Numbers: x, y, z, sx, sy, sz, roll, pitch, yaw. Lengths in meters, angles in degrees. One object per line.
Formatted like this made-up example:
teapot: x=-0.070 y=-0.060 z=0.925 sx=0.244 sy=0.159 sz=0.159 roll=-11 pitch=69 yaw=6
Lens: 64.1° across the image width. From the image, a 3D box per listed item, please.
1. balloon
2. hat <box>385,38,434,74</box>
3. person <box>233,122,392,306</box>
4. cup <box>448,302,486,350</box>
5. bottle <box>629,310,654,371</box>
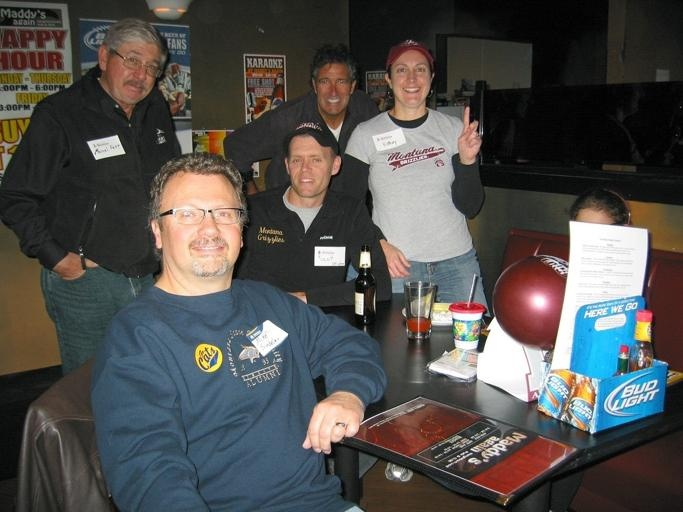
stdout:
balloon: x=0.577 y=0.152 z=1.740 sx=0.276 sy=0.213 sz=0.229 roll=-5 pitch=31 yaw=-13
hat: x=0.385 y=-1.140 z=3.083 sx=0.253 sy=0.182 sz=0.265 roll=-1 pitch=14 yaw=2
person: x=-0.194 y=-0.196 z=2.746 sx=0.960 sy=0.895 sz=0.552 roll=2 pitch=4 yaw=8
cup: x=0.469 y=0.270 z=2.039 sx=0.137 sy=0.153 sz=0.141 roll=1 pitch=1 yaw=0
bottle: x=0.883 y=0.242 z=1.592 sx=0.058 sy=0.203 sz=0.115 roll=7 pitch=17 yaw=32
